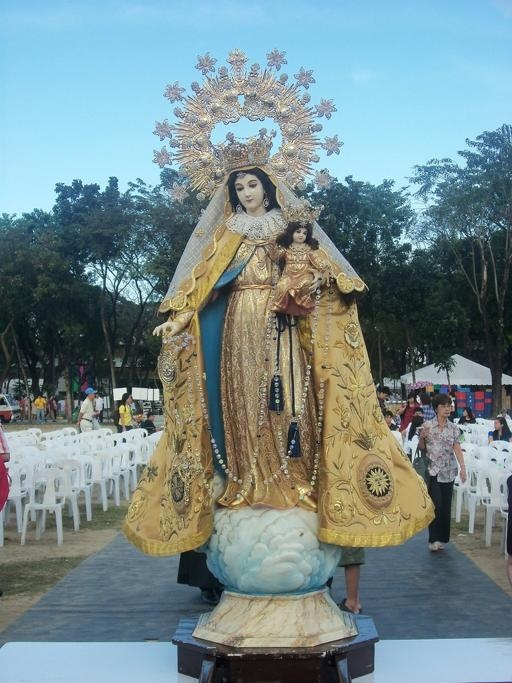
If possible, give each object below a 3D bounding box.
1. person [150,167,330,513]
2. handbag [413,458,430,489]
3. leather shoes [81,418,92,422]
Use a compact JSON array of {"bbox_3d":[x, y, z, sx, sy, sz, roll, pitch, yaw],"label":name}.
[{"bbox_3d":[-0.027,-0.040,4.297,0.827,1.793,0.351,0,-5,4],"label":"person"},{"bbox_3d":[1.552,1.232,7.726,0.141,0.267,0.382,-1,-5,11],"label":"handbag"},{"bbox_3d":[-3.285,1.511,15.681,0.210,0.077,0.064,-2,-5,20],"label":"leather shoes"}]
